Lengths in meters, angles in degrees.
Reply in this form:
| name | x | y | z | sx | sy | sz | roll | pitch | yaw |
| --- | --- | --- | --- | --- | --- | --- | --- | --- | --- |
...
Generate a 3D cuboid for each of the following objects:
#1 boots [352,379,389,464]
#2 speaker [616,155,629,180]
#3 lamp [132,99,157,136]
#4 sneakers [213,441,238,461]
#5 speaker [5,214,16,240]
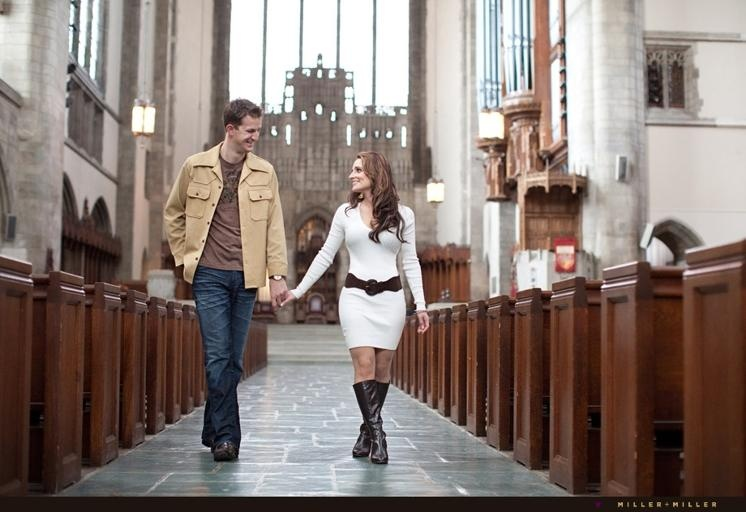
| name | x | y | z | sx | sy | sz | roll | pitch | yaw |
| --- | --- | --- | --- | --- | --- | --- | --- | --- | --- |
| boots | -0.029 | 1.476 | 8.676 | 0.311 | 0.740 | 0.361 | -1 | -1 | -2 |
| speaker | 4.027 | -1.401 | 15.583 | 0.228 | 0.411 | 0.147 | -1 | -2 | 0 |
| lamp | -4.168 | -2.523 | 17.537 | 0.380 | 0.674 | 1.024 | -1 | -1 | -16 |
| sneakers | -1.309 | 1.743 | 8.554 | 0.120 | 0.109 | 0.284 | -4 | -14 | 17 |
| speaker | -5.743 | -0.440 | 15.328 | 0.118 | 0.425 | 0.189 | -3 | -2 | 45 |
